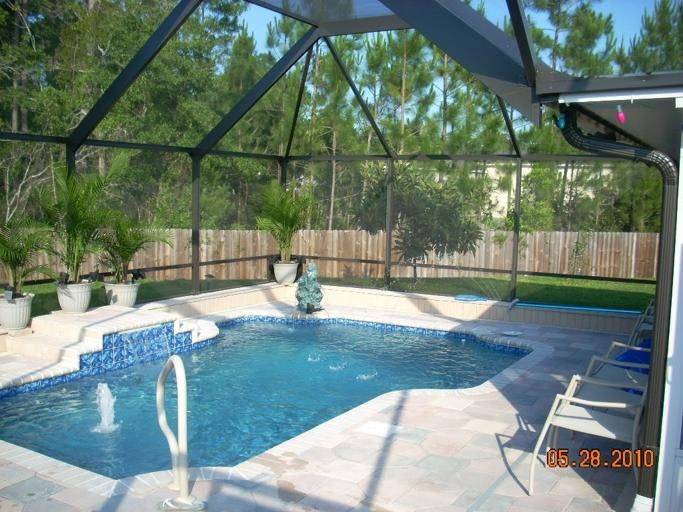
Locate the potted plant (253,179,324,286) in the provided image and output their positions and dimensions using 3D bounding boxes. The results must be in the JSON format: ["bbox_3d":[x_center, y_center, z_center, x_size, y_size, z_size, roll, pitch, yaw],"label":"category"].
[{"bbox_3d":[-1.596,-0.608,13.708,1.512,2.605,2.544,-1,5,5],"label":"potted plant"}]
